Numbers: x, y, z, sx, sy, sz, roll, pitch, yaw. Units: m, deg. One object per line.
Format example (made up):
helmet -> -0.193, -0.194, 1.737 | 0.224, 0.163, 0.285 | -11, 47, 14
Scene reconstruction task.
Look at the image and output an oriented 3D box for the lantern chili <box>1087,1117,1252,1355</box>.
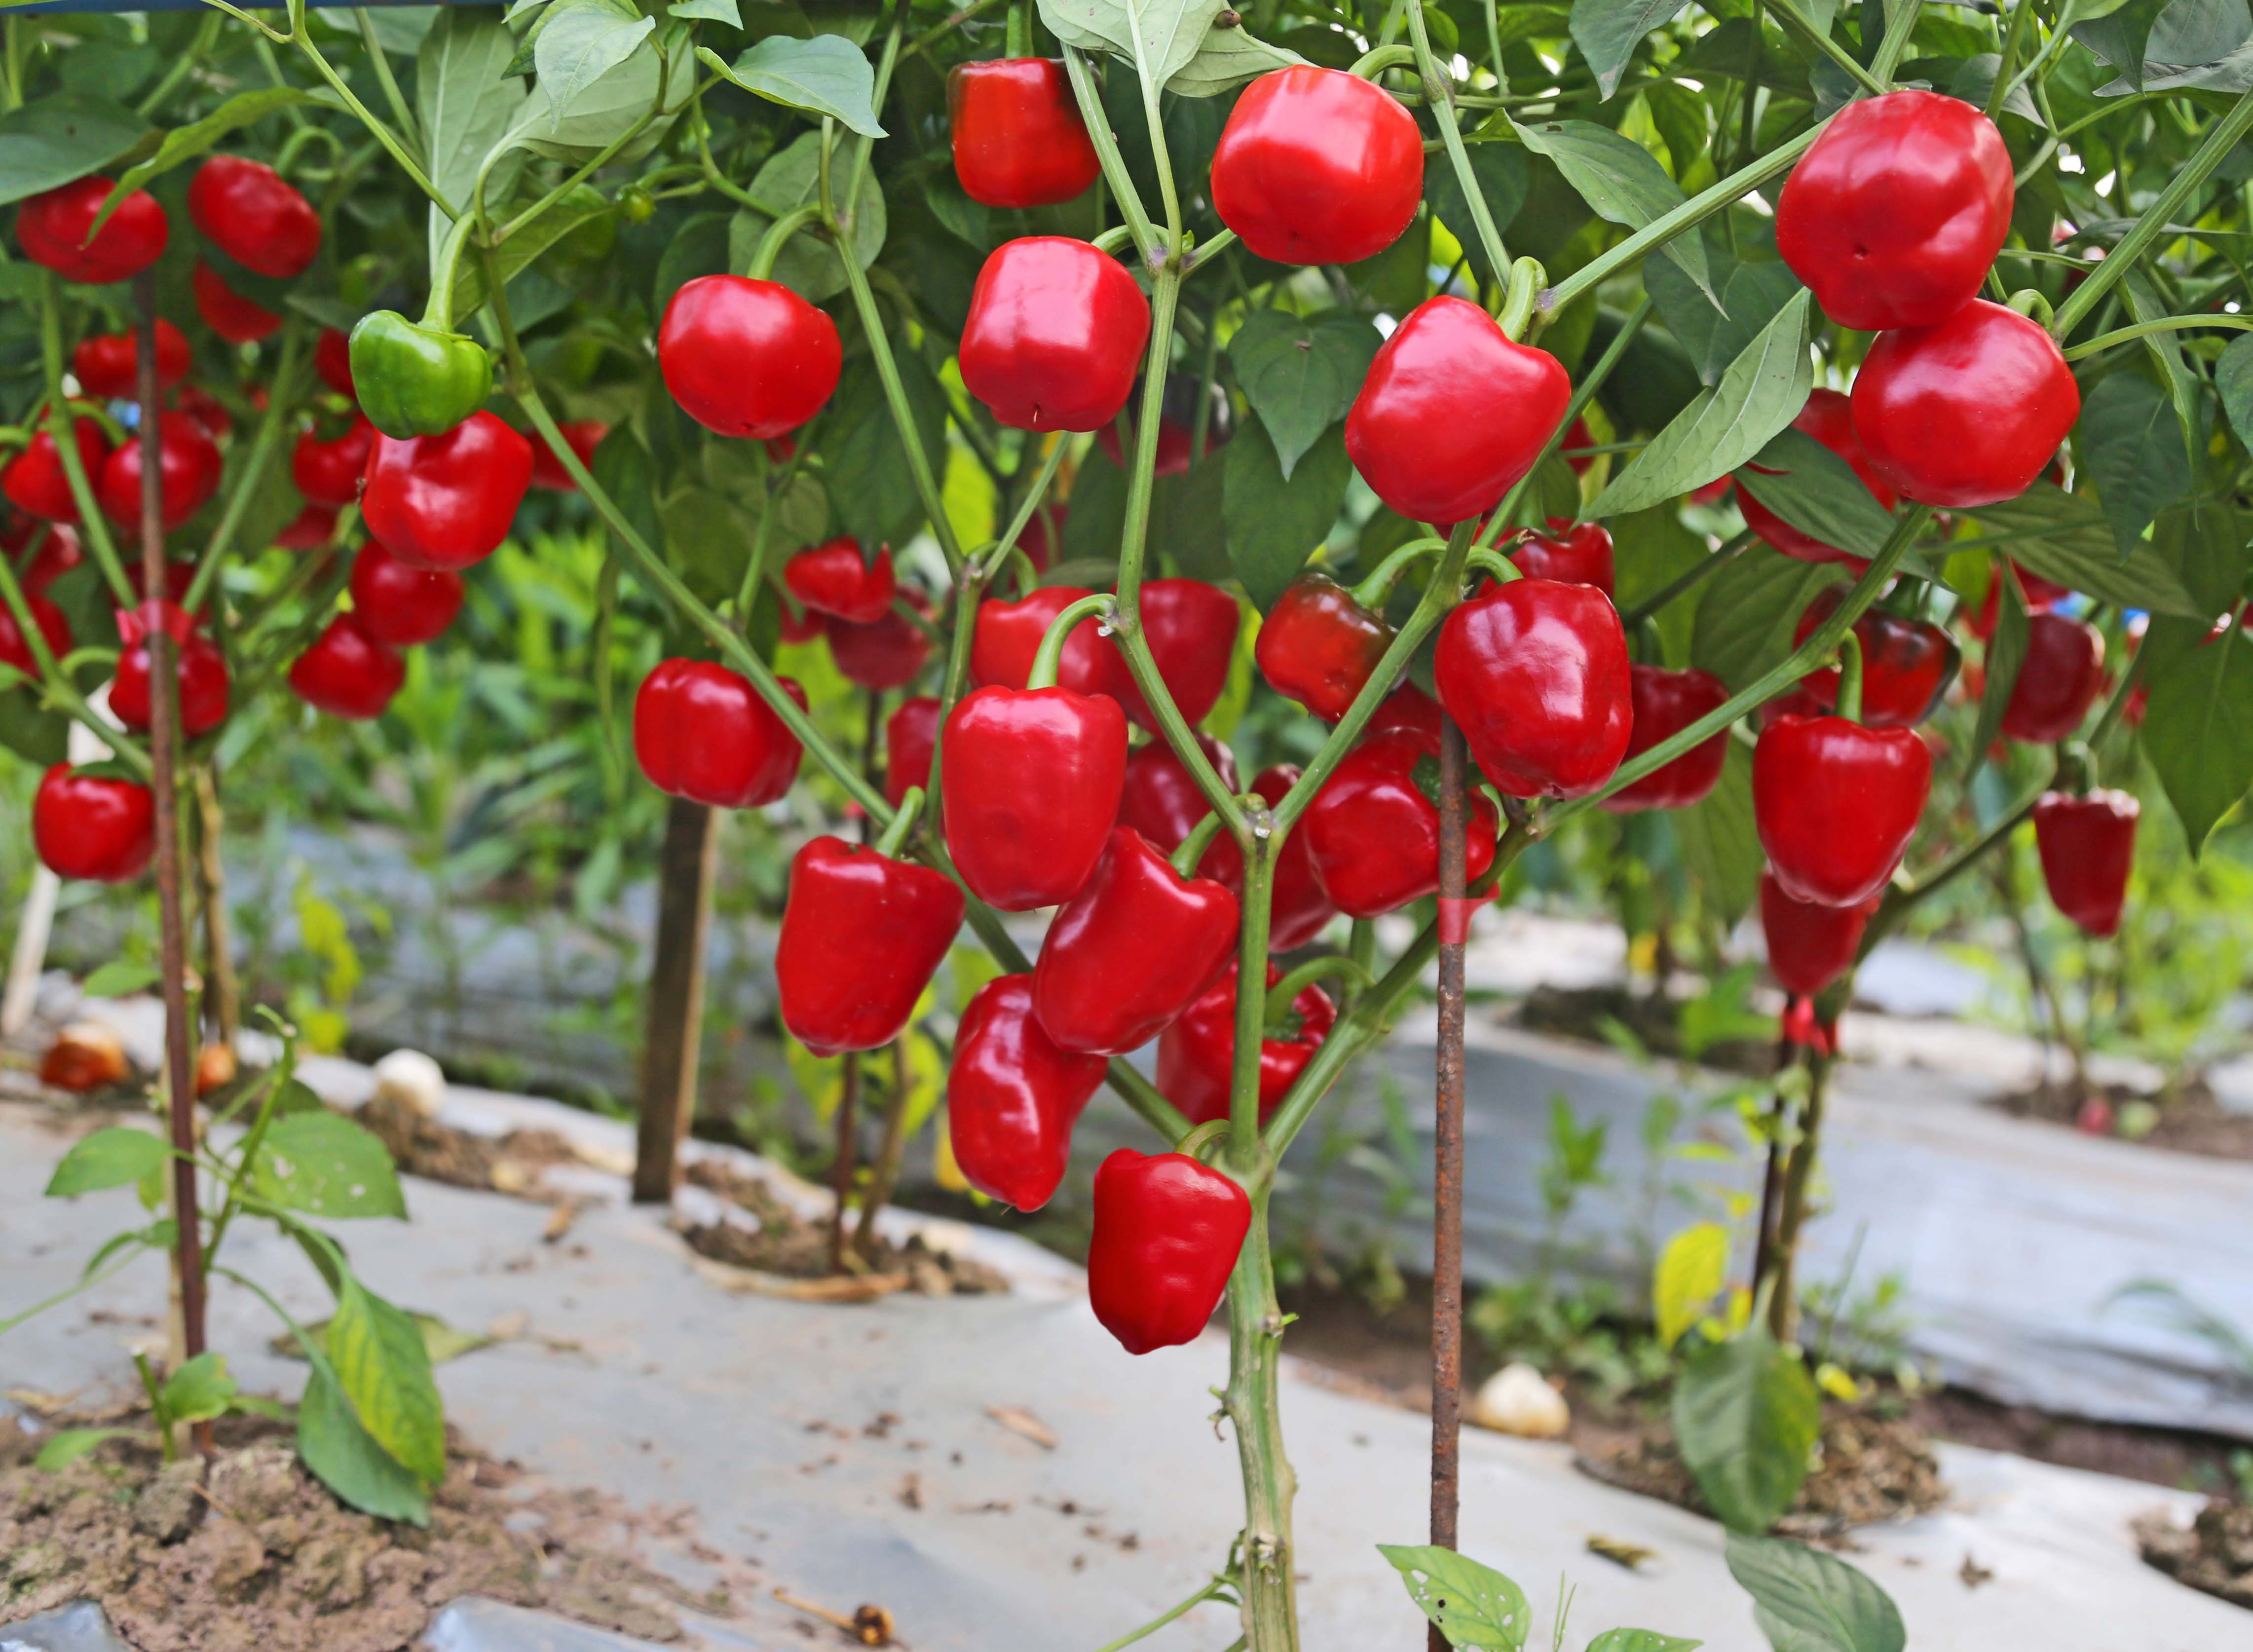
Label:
lantern chili -> 0.027, 0.266, 1.478 | 0.100, 0.154, 0.051 | 11, 7, -2
